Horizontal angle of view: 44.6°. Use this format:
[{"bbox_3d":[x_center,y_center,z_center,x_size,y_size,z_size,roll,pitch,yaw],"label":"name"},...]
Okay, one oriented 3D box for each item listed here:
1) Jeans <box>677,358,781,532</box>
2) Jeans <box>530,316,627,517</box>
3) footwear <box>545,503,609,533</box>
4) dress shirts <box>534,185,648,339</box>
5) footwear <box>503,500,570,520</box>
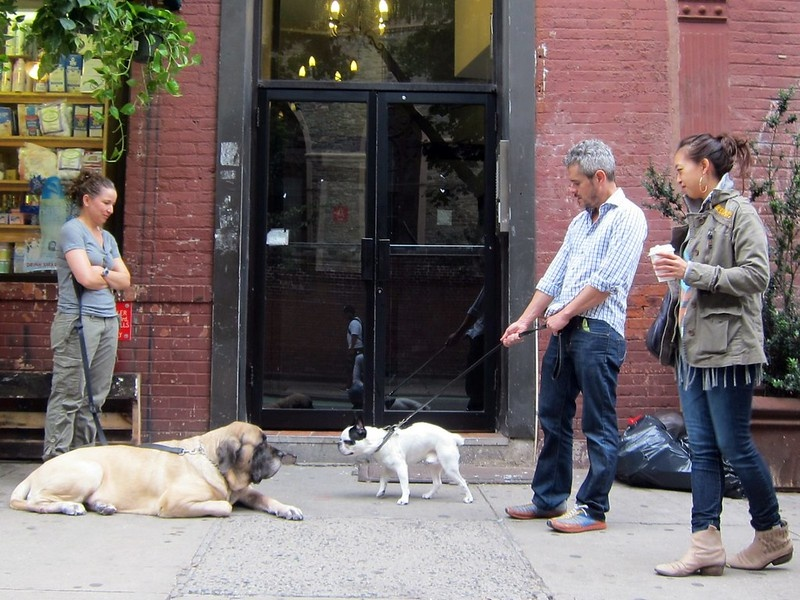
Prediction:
[{"bbox_3d":[2.018,0.849,5.984,0.527,1.214,0.447,-10,-21,30],"label":"Jeans"},{"bbox_3d":[1.262,0.774,6.837,0.744,1.263,0.740,4,7,-4],"label":"Jeans"},{"bbox_3d":[1.185,1.499,6.635,0.441,0.176,0.149,3,-7,-17],"label":"footwear"},{"bbox_3d":[1.335,-0.267,6.682,0.543,0.980,0.550,-1,11,-16],"label":"dress shirts"},{"bbox_3d":[0.958,1.466,6.779,0.417,0.155,0.145,2,-7,-1],"label":"footwear"}]
